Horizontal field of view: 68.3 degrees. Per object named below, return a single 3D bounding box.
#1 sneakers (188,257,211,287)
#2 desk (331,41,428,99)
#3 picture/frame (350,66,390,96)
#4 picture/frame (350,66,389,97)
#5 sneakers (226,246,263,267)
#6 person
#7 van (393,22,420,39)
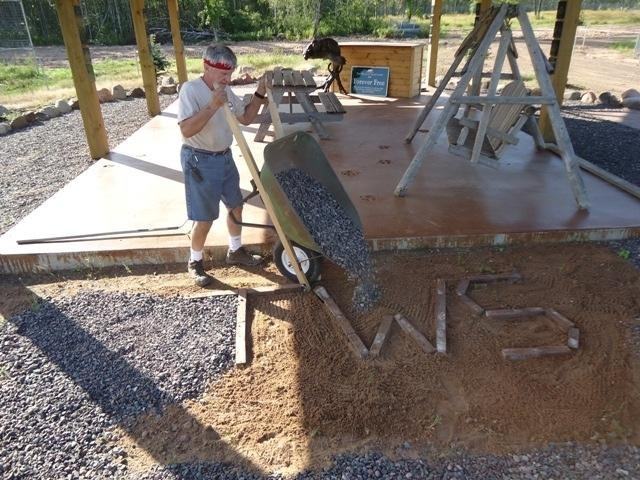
[{"bbox_3d":[-1.104,0.273,4.337,0.120,0.142,0.327,-14,48,-37],"label":"sneakers"},{"bbox_3d":[1.333,-3.552,10.063,1.356,0.916,1.458,12,31,20],"label":"desk"},{"bbox_3d":[1.093,-3.390,10.039,0.619,0.896,0.141,1,30,12],"label":"picture/frame"},{"bbox_3d":[1.087,-3.374,10.044,0.663,0.955,0.153,0,29,17],"label":"picture/frame"},{"bbox_3d":[-0.699,0.167,4.439,0.336,0.158,0.164,0,26,-8],"label":"sneakers"},{"bbox_3d":[-0.847,-0.616,4.078,0.868,1.964,0.621,-15,32,-22],"label":"person"},{"bbox_3d":[4.688,-11.134,25.422,1.259,0.967,5.333,4,30,9],"label":"van"}]
